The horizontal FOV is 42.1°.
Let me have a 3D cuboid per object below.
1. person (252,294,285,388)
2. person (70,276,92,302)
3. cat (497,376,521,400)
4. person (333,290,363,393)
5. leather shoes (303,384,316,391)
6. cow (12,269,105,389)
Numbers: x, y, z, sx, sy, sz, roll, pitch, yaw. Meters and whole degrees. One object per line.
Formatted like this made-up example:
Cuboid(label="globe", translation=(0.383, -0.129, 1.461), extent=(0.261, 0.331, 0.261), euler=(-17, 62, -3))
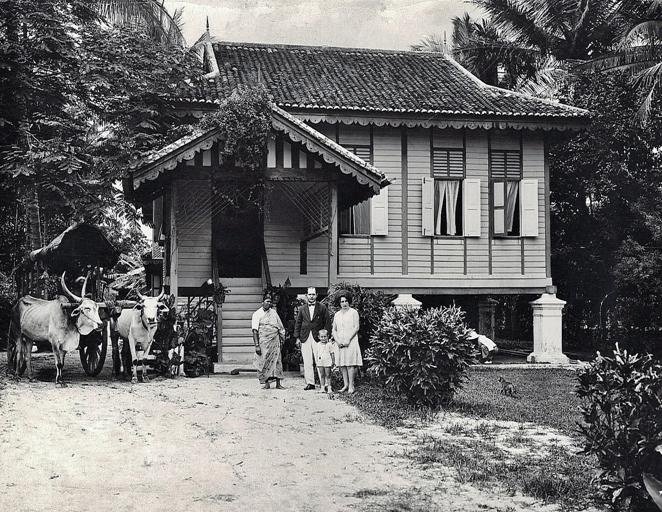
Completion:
Cuboid(label="person", translation=(-1.467, 2.093, 20.479), extent=(0.617, 2.151, 1.055), euler=(4, 5, 29))
Cuboid(label="person", translation=(-6.175, 0.791, 21.201), extent=(0.295, 0.595, 1.921), euler=(0, 5, -15))
Cuboid(label="cat", translation=(4.200, 3.071, 20.269), extent=(0.247, 0.532, 0.981), euler=(0, 4, -9))
Cuboid(label="person", translation=(0.315, 2.012, 19.977), extent=(0.648, 2.160, 0.638), euler=(-5, -7, 35))
Cuboid(label="leather shoes", translation=(-0.506, 3.139, 20.488), extent=(0.236, 0.106, 0.117), euler=(8, -9, -27))
Cuboid(label="cow", translation=(-7.000, 1.751, 20.980), extent=(3.270, 2.770, 0.955), euler=(5, 6, 37))
